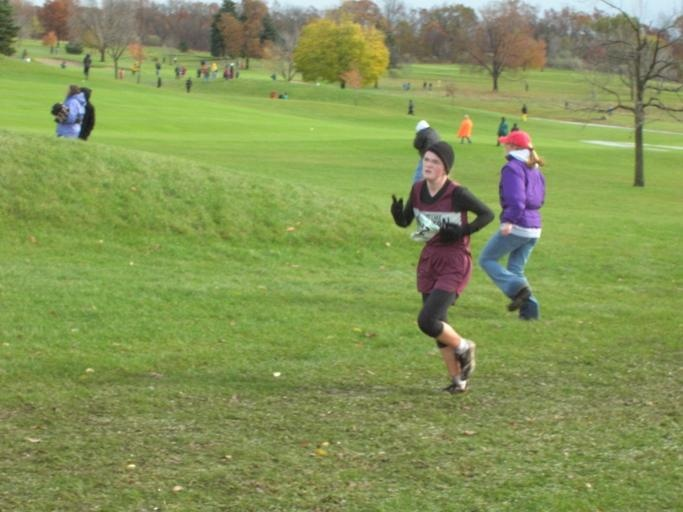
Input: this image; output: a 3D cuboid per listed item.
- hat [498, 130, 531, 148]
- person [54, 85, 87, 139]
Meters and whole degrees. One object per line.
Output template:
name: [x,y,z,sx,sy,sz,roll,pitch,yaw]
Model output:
hat: [8.339,-5.591,67.870,1.434,0.516,0.892,12,35,13]
person: [-14.293,-7.632,74.037,1.637,2.766,0.847,-1,9,-20]
